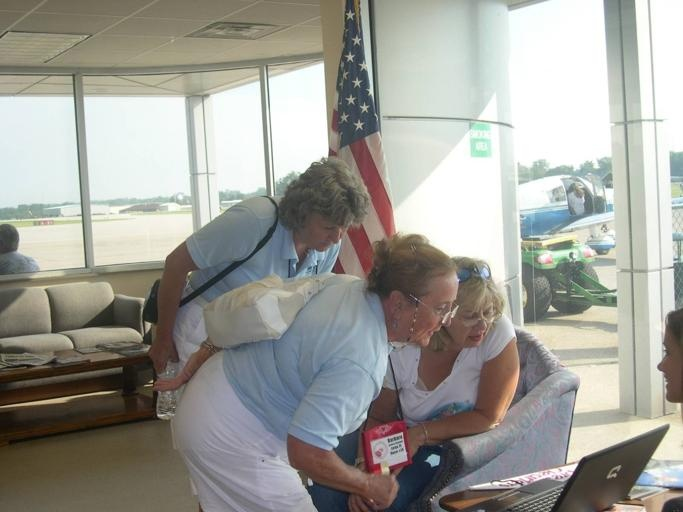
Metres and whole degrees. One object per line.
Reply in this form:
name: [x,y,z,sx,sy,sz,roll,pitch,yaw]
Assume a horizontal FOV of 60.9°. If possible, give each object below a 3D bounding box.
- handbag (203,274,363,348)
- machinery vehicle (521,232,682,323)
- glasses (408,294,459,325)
handbag: [-0.280,0.189,2.319,0.428,0.179,0.348,-26,9,-25]
machinery vehicle: [1.838,0.175,4.699,0.526,0.568,1.062,-1,5,-5]
glasses: [0.346,0.200,2.199,0.134,0.044,0.135,36,2,17]
